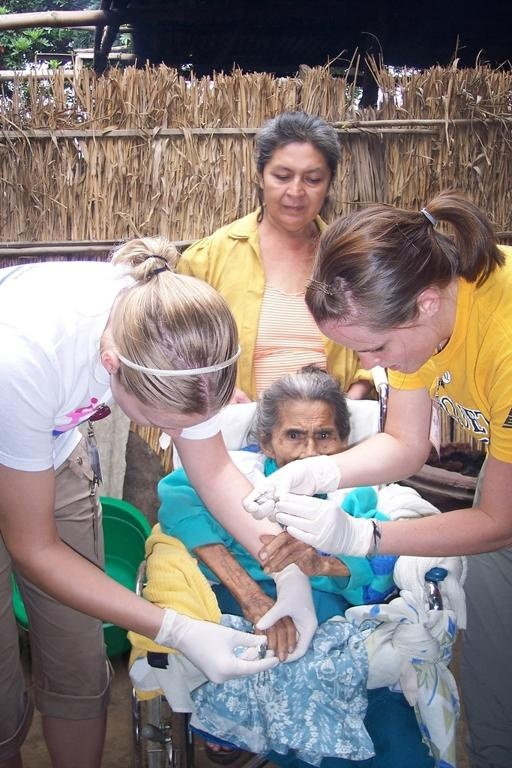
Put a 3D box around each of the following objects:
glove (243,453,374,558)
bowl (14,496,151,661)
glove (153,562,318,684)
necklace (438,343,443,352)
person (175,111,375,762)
[{"bbox_3d":[0.135,0.338,1.755,0.335,0.112,0.241,12,28,-12],"label":"glove"},{"bbox_3d":[-0.618,0.745,2.729,0.711,0.276,0.756,10,48,-11],"label":"bowl"},{"bbox_3d":[-0.022,0.599,1.643,0.291,0.089,0.210,7,3,-36],"label":"glove"},{"bbox_3d":[0.431,-0.085,1.560,0.004,0.015,0.017,13,15,14],"label":"necklace"},{"bbox_3d":[0.156,0.125,3.046,1.040,2.560,0.862,-1,14,-3],"label":"person"}]
